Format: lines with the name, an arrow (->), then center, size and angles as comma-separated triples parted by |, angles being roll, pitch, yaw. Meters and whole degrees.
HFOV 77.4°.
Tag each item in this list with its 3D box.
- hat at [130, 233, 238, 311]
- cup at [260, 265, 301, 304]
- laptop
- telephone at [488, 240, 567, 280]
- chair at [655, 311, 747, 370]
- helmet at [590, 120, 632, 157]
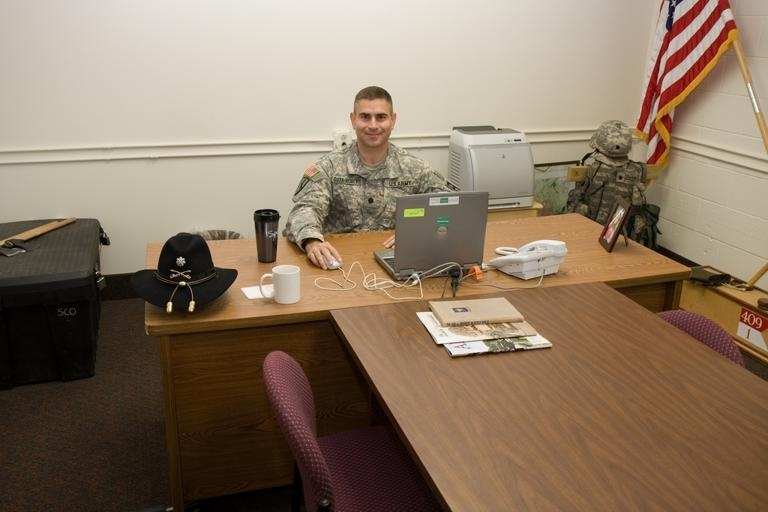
hat -> -0.860, 0.053, 2.043 | 0.425, 0.276, 0.282 | -6, 23, -17
cup -> -0.438, 0.129, 2.116 | 0.133, 0.156, 0.089 | 0, 22, -2
laptop -> 0.241, -0.104, 2.359 | 0.434, 0.363, 0.435 | -5, 19, -14
telephone -> 0.716, 0.007, 2.479 | 0.369, 0.145, 0.366 | -10, 14, -36
chair -> 1.333, 0.370, 2.080 | 0.256, 0.161, 0.290 | 16, 19, -8
helmet -> 1.949, -1.019, 4.146 | 0.276, 0.273, 0.355 | 0, 40, 3
